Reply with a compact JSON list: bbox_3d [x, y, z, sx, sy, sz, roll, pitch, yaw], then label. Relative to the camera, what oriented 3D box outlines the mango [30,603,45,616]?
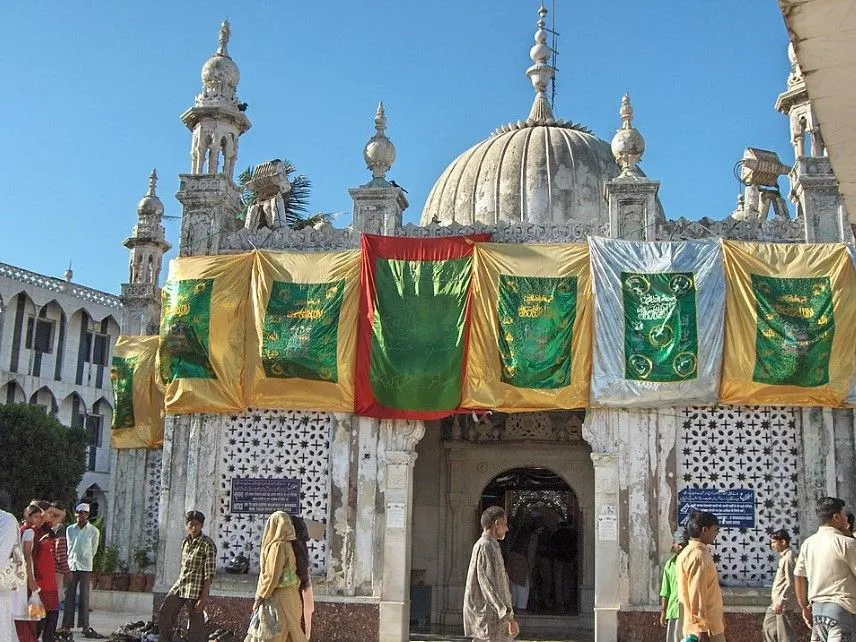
[{"bbox_3d":[-4.568,3.393,15.448,0.144,0.157,0.150,4,4,41],"label":"mango"}]

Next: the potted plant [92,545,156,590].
[{"bbox_3d":[-5.103,4.136,22.088,0.738,0.590,0.641,4,-26,-6],"label":"potted plant"}]
